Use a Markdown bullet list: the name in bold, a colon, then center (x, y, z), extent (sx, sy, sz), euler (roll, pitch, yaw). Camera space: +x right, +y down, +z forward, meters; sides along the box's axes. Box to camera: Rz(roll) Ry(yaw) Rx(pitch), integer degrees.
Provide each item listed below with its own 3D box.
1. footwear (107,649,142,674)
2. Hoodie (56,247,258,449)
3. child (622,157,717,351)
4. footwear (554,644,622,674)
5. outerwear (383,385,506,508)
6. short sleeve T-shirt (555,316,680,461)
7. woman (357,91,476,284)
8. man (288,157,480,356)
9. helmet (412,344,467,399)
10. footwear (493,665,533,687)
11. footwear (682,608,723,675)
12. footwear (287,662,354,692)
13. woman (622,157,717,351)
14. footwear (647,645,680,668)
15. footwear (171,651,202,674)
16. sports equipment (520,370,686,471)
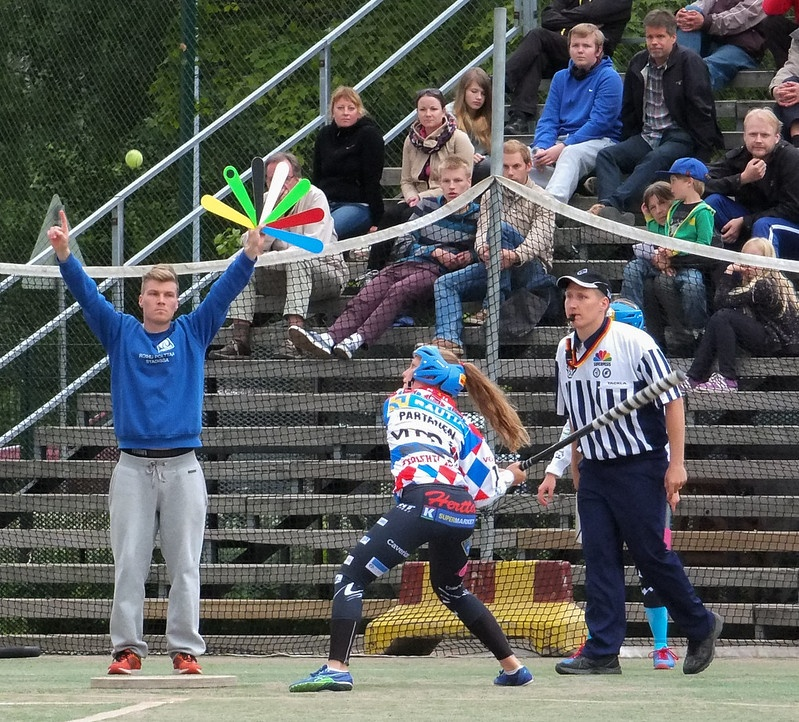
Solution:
- **footwear**: center (-1.696, 1.881, 13.663), extent (0.196, 0.154, 0.336), euler (-2, 2, -6)
- **Hoodie**: center (-1.672, -0.028, 15.240), extent (1.463, 1.525, 0.407), euler (0, -14, -9)
- **child**: center (1.975, -0.805, 16.107), extent (0.716, 1.348, 0.616), euler (-8, 9, -31)
- **footwear**: center (1.166, 1.906, 13.875), extent (0.395, 0.206, 0.158), euler (3, -20, 0)
- **outerwear**: center (0.249, 0.525, 13.300), extent (0.687, 0.719, 0.268), euler (6, -24, -30)
- **short sleeve T-shirt**: center (1.273, 0.183, 13.987), extent (0.896, 0.893, 0.453), euler (-2, 7, 32)
- **woman**: center (0.090, -1.307, 17.079), extent (1.077, 1.534, 0.582), euler (-9, 15, -44)
- **man**: center (0.035, -0.763, 16.025), extent (0.739, 1.011, 1.793), euler (15, 29, 28)
- **helmet**: center (0.232, 0.066, 13.393), extent (0.253, 0.181, 0.319), euler (26, -7, -18)
- **footwear**: center (0.676, 1.916, 13.285), extent (0.257, 0.124, 0.097), euler (-2, -1, 4)
- **footwear**: center (1.849, 1.809, 13.802), extent (0.214, 0.495, 0.161), euler (14, 2, -37)
- **footwear**: center (-0.475, 1.884, 13.059), extent (0.389, 0.179, 0.148), euler (2, -8, -5)
- **woman**: center (1.988, -0.811, 16.112), extent (0.705, 1.365, 0.605), euler (-10, 10, -43)
- **footwear**: center (1.689, 1.933, 14.301), extent (0.119, 0.101, 0.249), euler (-2, -13, 4)
- **footwear**: center (-1.298, 1.883, 13.659), extent (0.083, 0.095, 0.229), euler (2, -12, -24)
- **sports equipment**: center (1.310, 0.394, 14.031), extent (1.184, 0.118, 0.120), euler (-34, 3, 20)
